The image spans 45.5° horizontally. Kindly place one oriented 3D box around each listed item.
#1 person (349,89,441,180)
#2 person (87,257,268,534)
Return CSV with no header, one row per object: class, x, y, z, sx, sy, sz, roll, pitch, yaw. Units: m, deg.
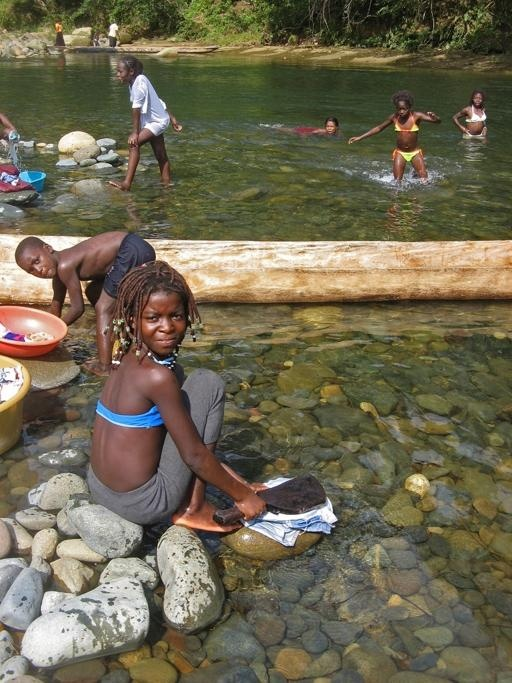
person,2.193,-2.842,8.485,0.650,1.178,1.007,-4,18,-15
person,-0.333,0.274,2.328,0.660,1.147,0.369,-4,19,-13
